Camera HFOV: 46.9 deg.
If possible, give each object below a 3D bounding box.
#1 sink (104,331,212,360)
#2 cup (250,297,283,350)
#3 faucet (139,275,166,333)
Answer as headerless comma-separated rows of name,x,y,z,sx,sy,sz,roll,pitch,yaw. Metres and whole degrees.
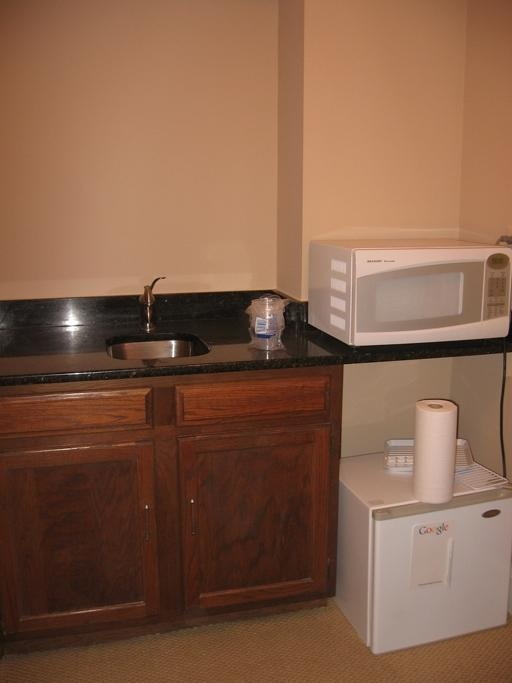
sink,-0.306,0.028,1.885,0.328,0.087,0.227,1,10,4
cup,0.029,-0.048,1.719,0.118,0.128,0.079,14,26,34
faucet,-0.363,-0.133,2.066,0.087,0.174,0.253,-1,11,-7
